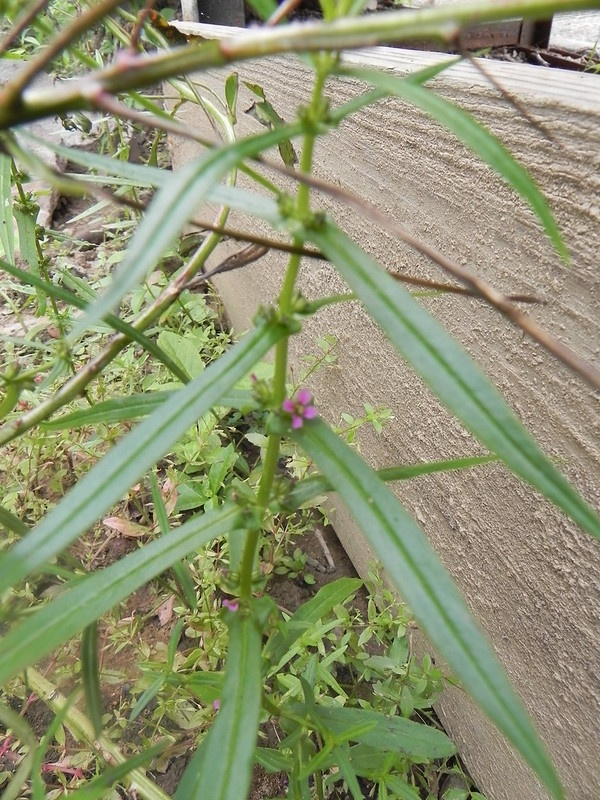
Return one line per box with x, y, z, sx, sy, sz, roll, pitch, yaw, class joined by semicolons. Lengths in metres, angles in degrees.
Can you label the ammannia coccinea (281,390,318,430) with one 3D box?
0.007;0.009;0.538;0.036;0.008;0.030;-5;78;-8;ammannia coccinea
